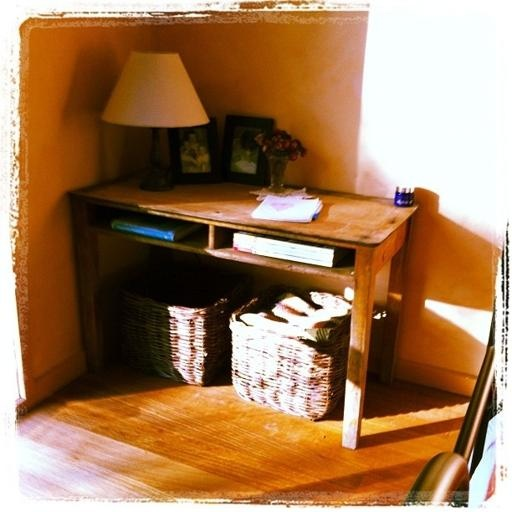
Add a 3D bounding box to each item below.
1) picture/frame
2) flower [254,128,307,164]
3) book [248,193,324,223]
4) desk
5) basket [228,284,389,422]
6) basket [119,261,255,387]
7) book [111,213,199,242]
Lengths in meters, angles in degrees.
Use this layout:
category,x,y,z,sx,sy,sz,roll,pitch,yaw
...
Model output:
category,x,y,z,sx,sy,sz,roll,pitch,yaw
picture/frame,-0.146,-0.456,2.206,0.400,0.264,0.044,1,21,9
flower,0.093,-0.433,1.994,0.197,0.114,0.085,5,13,11
book,0.121,-0.182,1.905,0.242,0.066,0.341,4,12,6
desk,-0.062,0.135,2.178,1.265,0.788,0.611,12,24,26
basket,0.214,0.434,2.098,0.377,0.320,0.512,3,-6,-40
basket,-0.281,0.275,2.378,0.466,0.365,0.582,6,6,24
book,-0.383,-0.111,1.940,0.166,0.033,0.164,10,18,13
